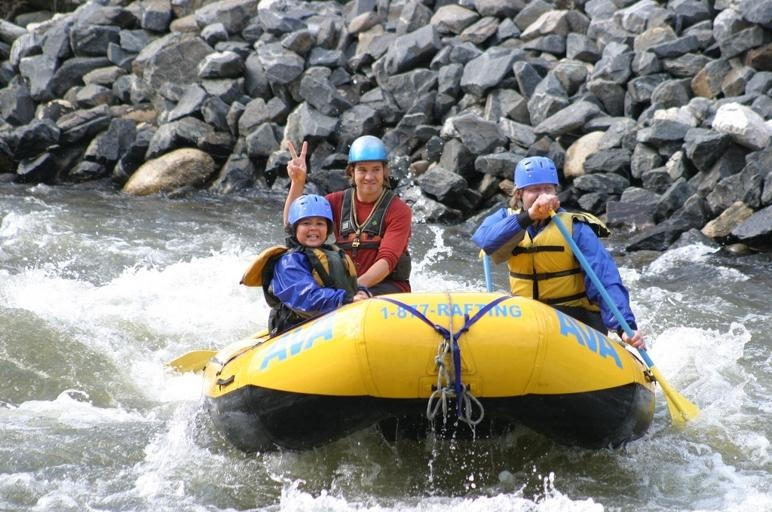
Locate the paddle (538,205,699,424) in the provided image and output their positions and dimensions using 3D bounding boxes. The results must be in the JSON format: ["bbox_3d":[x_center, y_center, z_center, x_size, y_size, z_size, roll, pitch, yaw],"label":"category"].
[{"bbox_3d":[3.527,1.122,16.604,0.554,0.455,3.382,-21,45,-5],"label":"paddle"}]

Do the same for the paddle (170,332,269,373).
[{"bbox_3d":[-2.461,1.444,16.714,1.327,0.366,0.189,-21,-4,-1],"label":"paddle"}]

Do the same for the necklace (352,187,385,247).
[{"bbox_3d":[-0.244,-0.478,16.299,0.425,0.625,0.195,7,-5,27],"label":"necklace"}]
